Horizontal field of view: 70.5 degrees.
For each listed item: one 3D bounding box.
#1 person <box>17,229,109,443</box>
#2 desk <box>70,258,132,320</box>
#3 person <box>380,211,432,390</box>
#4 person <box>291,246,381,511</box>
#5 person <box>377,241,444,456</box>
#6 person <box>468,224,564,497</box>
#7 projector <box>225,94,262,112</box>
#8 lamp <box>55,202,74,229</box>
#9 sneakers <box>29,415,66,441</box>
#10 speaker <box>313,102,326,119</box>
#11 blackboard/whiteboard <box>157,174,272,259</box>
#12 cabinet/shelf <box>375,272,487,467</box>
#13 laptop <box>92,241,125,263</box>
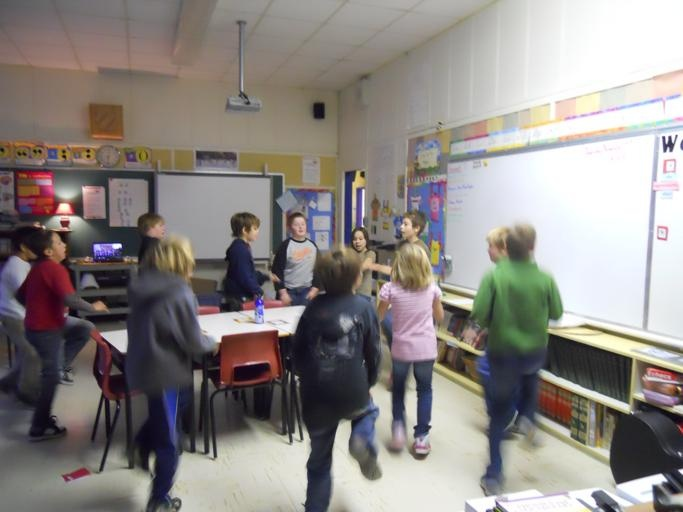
[{"bbox_3d":[-2.396,0.646,4.028,0.558,1.729,0.295,0,7,0],"label":"person"},{"bbox_3d":[-3.217,0.402,6.381,0.802,0.849,0.441,-1,3,-34],"label":"desk"},{"bbox_3d":[0.573,0.393,5.195,0.505,1.774,0.468,14,20,22],"label":"person"},{"bbox_3d":[-0.025,0.755,2.873,0.514,1.599,0.248,0,7,4],"label":"person"},{"bbox_3d":[0.530,0.752,3.774,0.491,1.703,0.317,0,7,5],"label":"person"},{"bbox_3d":[1.177,0.723,3.291,0.583,1.880,0.246,1,7,14],"label":"person"},{"bbox_3d":[-1.225,-1.879,5.956,0.402,0.185,0.208,-2,7,-15],"label":"projector"},{"bbox_3d":[-4.035,-0.586,6.961,0.265,0.400,0.256,-3,7,-22],"label":"lamp"},{"bbox_3d":[-2.457,1.432,4.099,0.326,0.223,0.129,-2,4,-42],"label":"sneakers"},{"bbox_3d":[-0.390,-2.437,8.075,0.244,0.359,0.125,-2,3,-26],"label":"speaker"},{"bbox_3d":[-2.292,-0.779,8.311,1.625,1.339,0.680,-3,11,-19],"label":"blackboard/whiteboard"},{"bbox_3d":[0.549,0.720,3.840,0.444,1.566,0.455,1,3,18],"label":"cabinet/shelf"},{"bbox_3d":[-3.490,-0.071,7.175,0.399,0.299,0.287,-1,0,-30],"label":"laptop"}]
